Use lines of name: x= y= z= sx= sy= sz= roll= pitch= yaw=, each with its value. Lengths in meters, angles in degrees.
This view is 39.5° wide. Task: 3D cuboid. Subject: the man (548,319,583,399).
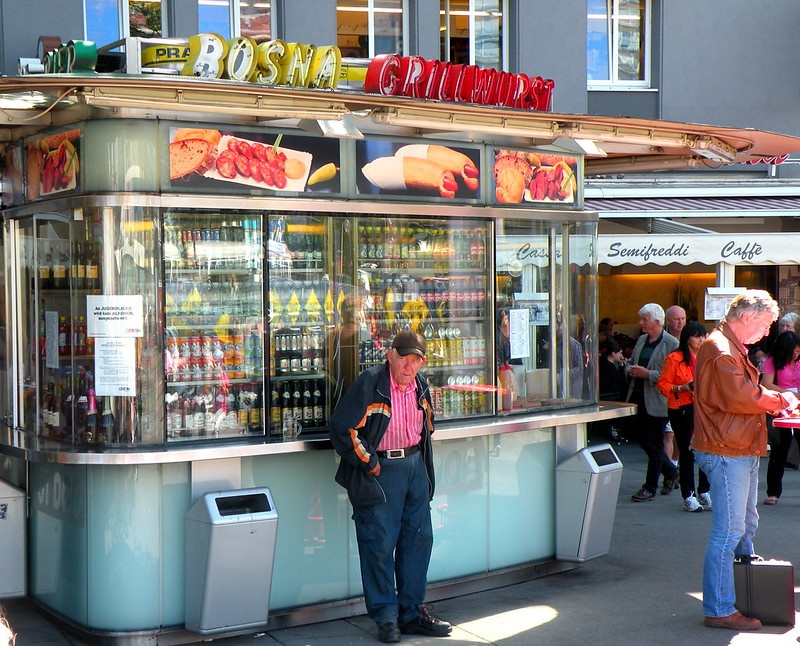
man: x=1.358 y=0.314 z=8.906 sx=0.158 sy=0.645 sz=0.210 roll=-15 pitch=14 yaw=-38

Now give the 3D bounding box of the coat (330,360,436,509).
coat: x=-0.106 y=0.746 z=7.372 sx=0.695 sy=0.922 sz=0.308 roll=1 pitch=9 yaw=-31

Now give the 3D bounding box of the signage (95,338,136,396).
signage: x=-1.835 y=0.285 z=7.269 sx=0.346 sy=0.491 sz=0.023 roll=0 pitch=-2 yaw=-3

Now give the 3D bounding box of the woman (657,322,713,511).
woman: x=2.688 y=0.862 z=10.239 sx=0.562 sy=1.678 sz=0.513 roll=-2 pitch=-1 yaw=-25

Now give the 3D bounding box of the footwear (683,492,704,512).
footwear: x=2.700 y=1.662 z=10.249 sx=0.093 sy=0.106 sz=0.225 roll=-1 pitch=-6 yaw=-5

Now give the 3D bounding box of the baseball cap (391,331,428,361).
baseball cap: x=0.065 y=0.150 z=7.334 sx=0.211 sy=0.168 sz=0.130 roll=5 pitch=8 yaw=-8

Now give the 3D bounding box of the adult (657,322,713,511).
adult: x=2.693 y=0.882 z=10.231 sx=0.569 sy=1.713 sz=0.497 roll=-3 pitch=0 yaw=-15

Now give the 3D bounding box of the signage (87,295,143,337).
signage: x=-1.831 y=-0.042 z=7.264 sx=0.250 sy=0.201 sz=0.011 roll=0 pitch=-1 yaw=3

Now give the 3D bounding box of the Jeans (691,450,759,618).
Jeans: x=2.178 y=1.408 z=7.519 sx=0.363 sy=1.112 sz=0.441 roll=13 pitch=10 yaw=41

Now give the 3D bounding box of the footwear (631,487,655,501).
footwear: x=2.323 y=1.644 z=10.723 sx=0.106 sy=0.097 sz=0.215 roll=-2 pitch=-4 yaw=33

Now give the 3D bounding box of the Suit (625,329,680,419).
Suit: x=2.401 y=0.475 z=10.768 sx=0.338 sy=0.714 sz=0.491 roll=-8 pitch=19 yaw=-39

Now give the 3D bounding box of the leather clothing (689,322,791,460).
leather clothing: x=2.164 y=0.444 z=7.348 sx=0.699 sy=1.028 sz=0.780 roll=-2 pitch=2 yaw=-5

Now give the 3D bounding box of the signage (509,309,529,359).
signage: x=0.935 y=0.090 z=8.643 sx=0.038 sy=0.394 sz=0.218 roll=-3 pitch=2 yaw=-38

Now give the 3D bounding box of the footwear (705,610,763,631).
footwear: x=2.208 y=1.985 z=7.429 sx=0.359 sy=0.176 sz=0.139 roll=-2 pitch=1 yaw=7

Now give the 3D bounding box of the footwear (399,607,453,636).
footwear: x=0.181 y=2.008 z=7.526 sx=0.402 sy=0.223 sz=0.144 roll=0 pitch=1 yaw=4
